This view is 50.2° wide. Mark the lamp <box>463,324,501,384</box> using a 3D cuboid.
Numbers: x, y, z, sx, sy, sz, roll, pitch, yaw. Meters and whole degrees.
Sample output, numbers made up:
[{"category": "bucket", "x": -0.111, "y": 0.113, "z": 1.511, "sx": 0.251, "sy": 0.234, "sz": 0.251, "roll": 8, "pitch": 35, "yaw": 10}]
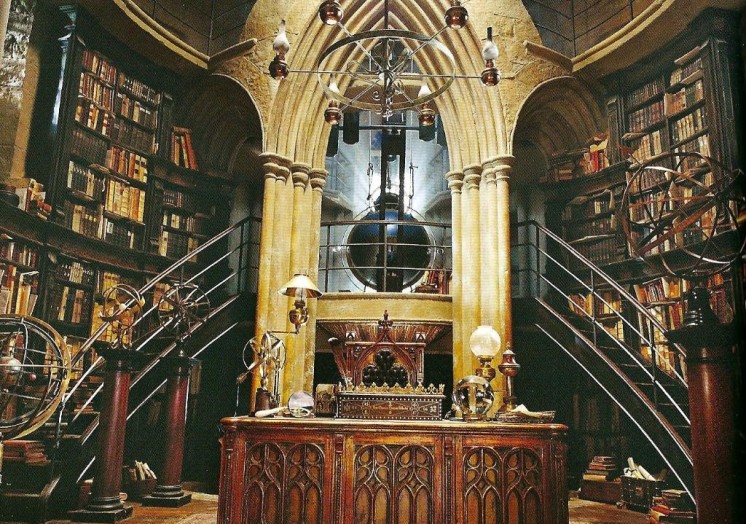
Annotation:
[{"category": "lamp", "x": 1.368, "y": 1.099, "z": 9.639, "sx": 0.338, "sy": 0.736, "sz": 0.668, "roll": 0, "pitch": -15, "yaw": 8}]

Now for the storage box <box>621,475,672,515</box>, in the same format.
[{"category": "storage box", "x": 4.014, "y": 3.400, "z": 11.851, "sx": 0.585, "sy": 0.424, "sz": 0.365, "roll": -6, "pitch": -6, "yaw": 37}]
